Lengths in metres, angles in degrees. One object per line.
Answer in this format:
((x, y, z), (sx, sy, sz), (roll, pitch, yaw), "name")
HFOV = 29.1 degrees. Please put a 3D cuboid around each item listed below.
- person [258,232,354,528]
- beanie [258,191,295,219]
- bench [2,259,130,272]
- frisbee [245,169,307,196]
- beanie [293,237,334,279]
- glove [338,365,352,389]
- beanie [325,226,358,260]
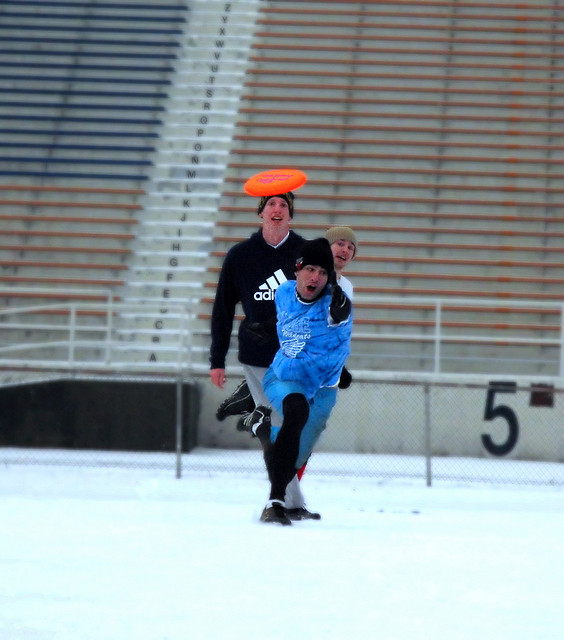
((0.058, 0.281, 5.945), (0.459, 1.431, 0.688), (7, 17, 26), "person")
((-0.058, -0.697, 6.494), (0.229, 0.126, 0.210), (0, -2, 27), "beanie")
((-2.168, -0.558, 10.996), (1.356, 0.088, 0.113), (2, 13, 13), "bench")
((-0.040, -0.827, 6.560), (0.328, 0.147, 0.408), (-3, 11, -12), "frisbee")
((0.186, -0.342, 5.991), (0.208, 0.216, 0.150), (0, 14, 2), "beanie")
((0.378, 0.342, 6.370), (0.104, 0.117, 0.048), (5, -1, -1), "glove")
((0.326, -0.479, 6.635), (0.231, 0.139, 0.195), (19, 5, 32), "beanie")
